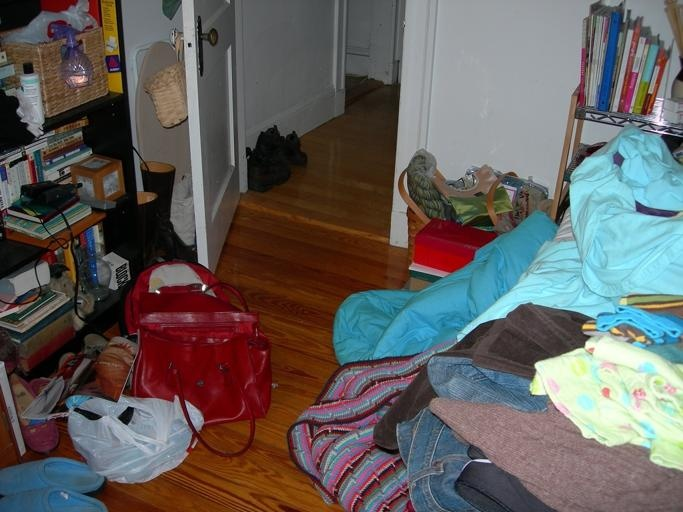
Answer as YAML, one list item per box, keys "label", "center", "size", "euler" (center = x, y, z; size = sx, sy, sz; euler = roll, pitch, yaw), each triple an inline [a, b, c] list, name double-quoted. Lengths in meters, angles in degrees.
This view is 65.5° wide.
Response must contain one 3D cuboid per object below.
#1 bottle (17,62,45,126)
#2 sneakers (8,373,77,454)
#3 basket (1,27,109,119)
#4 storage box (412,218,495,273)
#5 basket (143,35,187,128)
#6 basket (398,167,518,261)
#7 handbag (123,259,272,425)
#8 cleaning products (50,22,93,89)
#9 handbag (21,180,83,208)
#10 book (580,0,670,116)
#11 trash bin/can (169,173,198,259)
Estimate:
- label: "bottle"
  center: [-1.103, -0.573, 1.877]
  size: [0.069, 0.201, 0.081]
  euler: [-8, 31, -19]
- label: "sneakers"
  center: [-1.082, 0.571, 1.885]
  size: [0.117, 0.354, 0.144]
  euler: [-25, -2, -34]
- label: "basket"
  center: [-1.069, -0.676, 1.940]
  size: [0.192, 0.231, 0.330]
  euler: [7, 32, 30]
- label: "storage box"
  center: [0.515, -0.047, 2.407]
  size: [0.317, 0.161, 0.244]
  euler: [17, 33, 23]
- label: "basket"
  center: [-0.777, -0.710, 2.355]
  size: [0.171, 0.259, 0.194]
  euler: [-7, 31, -16]
- label: "basket"
  center: [0.558, -0.176, 2.628]
  size: [0.550, 0.544, 0.413]
  euler: [2, 59, 11]
- label: "handbag"
  center: [-0.568, 0.337, 2.038]
  size: [0.505, 0.419, 0.702]
  euler: [-13, 34, -26]
- label: "cleaning products"
  center: [-1.013, -0.750, 1.984]
  size: [0.152, 0.256, 0.128]
  euler: [-33, 82, -29]
- label: "handbag"
  center: [-1.140, -0.264, 2.093]
  size: [0.110, 0.053, 0.147]
  euler: [20, 21, 19]
- label: "book"
  center: [1.139, -0.807, 2.167]
  size: [0.332, 0.385, 0.222]
  euler: [15, 31, 20]
- label: "trash bin/can"
  center: [-0.837, -0.231, 2.840]
  size: [0.139, 0.186, 0.478]
  euler: [-10, 55, -18]
